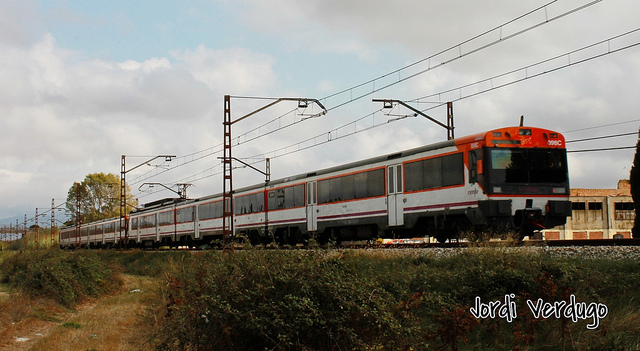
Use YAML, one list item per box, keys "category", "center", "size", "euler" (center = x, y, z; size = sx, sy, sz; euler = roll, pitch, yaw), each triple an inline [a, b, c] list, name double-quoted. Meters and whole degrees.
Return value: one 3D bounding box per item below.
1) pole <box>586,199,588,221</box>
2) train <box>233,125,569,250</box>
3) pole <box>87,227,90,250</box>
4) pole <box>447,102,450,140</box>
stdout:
- category: "pole"
  center: [29.619, 3.817, 61.413]
  size: [0.113, 2.214, 0.372]
  euler: [-4, -4, 32]
- category: "train"
  center: [3.444, 1.658, 37.159]
  size: [4.733, 5.745, 26.432]
  euler: [3, -8, -28]
- category: "pole"
  center: [-27.751, 7.353, 66.282]
  size: [0.181, 2.252, 0.768]
  euler: [-1, -4, -24]
- category: "pole"
  center: [8.568, -3.909, 36.985]
  size: [0.102, 1.779, 0.424]
  euler: [-3, -4, 17]
